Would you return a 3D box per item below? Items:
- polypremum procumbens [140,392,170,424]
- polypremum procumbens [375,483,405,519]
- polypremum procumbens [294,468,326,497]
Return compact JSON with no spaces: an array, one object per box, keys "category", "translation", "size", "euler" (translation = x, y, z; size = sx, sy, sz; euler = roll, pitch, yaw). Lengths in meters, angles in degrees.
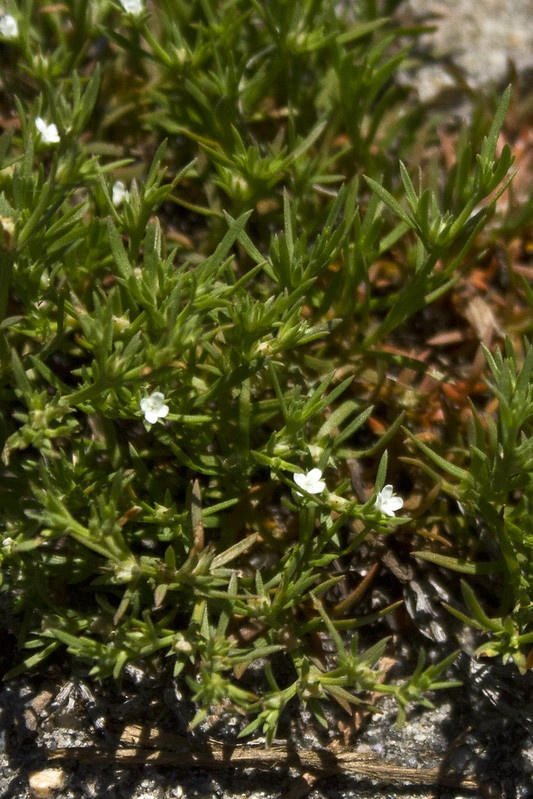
[{"category":"polypremum procumbens","translation":[-0.251,0.026,1.625],"size":[0.053,0.073,0.080],"euler":[-14,47,-14]},{"category":"polypremum procumbens","translation":[0.283,0.241,1.727],"size":[0.088,0.059,0.094],"euler":[6,73,-28]},{"category":"polypremum procumbens","translation":[0.096,0.197,1.685],"size":[0.068,0.042,0.067],"euler":[25,60,7]}]
